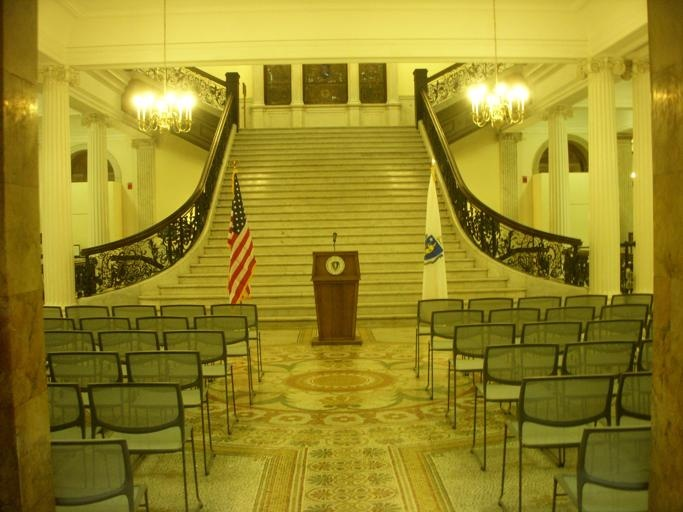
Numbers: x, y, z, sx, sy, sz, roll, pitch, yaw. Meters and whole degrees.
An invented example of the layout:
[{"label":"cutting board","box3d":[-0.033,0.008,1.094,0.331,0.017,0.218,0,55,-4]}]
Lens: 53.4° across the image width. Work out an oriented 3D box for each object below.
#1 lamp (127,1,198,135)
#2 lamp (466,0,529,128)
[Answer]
[{"label":"lamp","box3d":[-3.414,-3.319,12.649,1.251,2.066,4.524,-4,12,-13]},{"label":"lamp","box3d":[3.002,-3.468,12.863,1.076,1.966,4.838,1,12,14]}]
